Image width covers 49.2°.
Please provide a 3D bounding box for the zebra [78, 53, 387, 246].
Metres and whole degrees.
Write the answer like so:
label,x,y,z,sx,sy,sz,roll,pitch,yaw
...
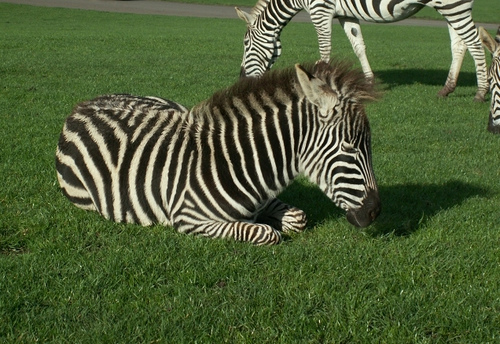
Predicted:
label,x,y,z,sx,sy,sz,roll,pitch,yaw
zebra,-0.684,-0.581,8.578,5.365,3.373,1.960,8,23,12
